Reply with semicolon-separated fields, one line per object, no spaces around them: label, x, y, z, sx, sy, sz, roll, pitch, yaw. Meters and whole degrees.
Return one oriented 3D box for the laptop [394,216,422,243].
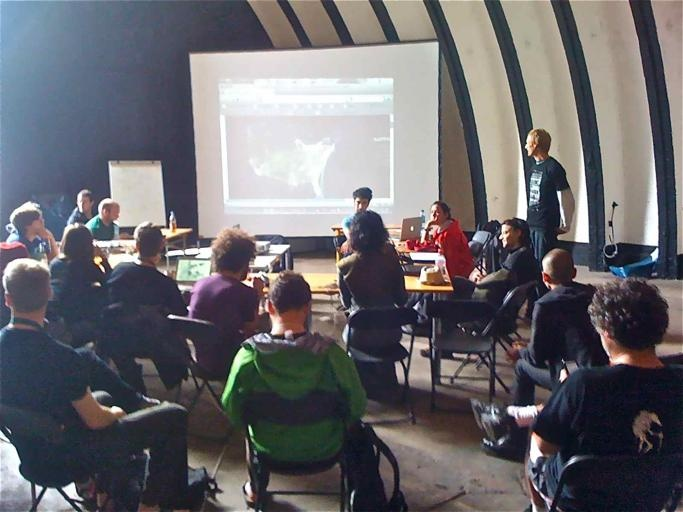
laptop;0.778;-0.323;6.619;0.312;0.240;0.220;-10;16;-38

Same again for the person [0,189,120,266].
person;-2.826;-0.274;5.722;1.281;0.795;0.584;-9;14;-37

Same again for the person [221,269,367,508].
person;-0.249;0.654;3.084;0.795;1.483;0.898;0;30;-1
